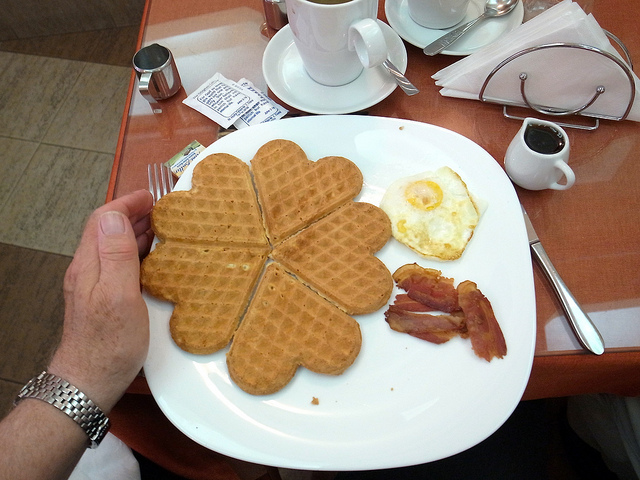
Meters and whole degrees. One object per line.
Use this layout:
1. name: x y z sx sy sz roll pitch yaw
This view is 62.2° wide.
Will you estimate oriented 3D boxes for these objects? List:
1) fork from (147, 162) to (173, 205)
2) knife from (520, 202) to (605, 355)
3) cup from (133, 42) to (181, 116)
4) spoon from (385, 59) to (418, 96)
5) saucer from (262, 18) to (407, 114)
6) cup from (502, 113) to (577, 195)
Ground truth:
1. fork: -0.589 -0.224 1.953 0.056 0.019 0.179 -3 71 -9
2. knife: 0.780 0.141 1.702 0.059 0.027 0.539 -22 59 8
3. cup: -0.624 -0.626 2.071 0.123 0.162 0.239 3 63 3
4. spoon: 0.296 -0.588 1.928 0.057 0.014 0.228 -22 59 -9
5. saucer: 0.015 -0.796 2.113 0.617 0.366 0.515 -14 37 -18
6. cup: 0.753 -0.291 1.794 0.212 0.142 0.217 0 80 2
